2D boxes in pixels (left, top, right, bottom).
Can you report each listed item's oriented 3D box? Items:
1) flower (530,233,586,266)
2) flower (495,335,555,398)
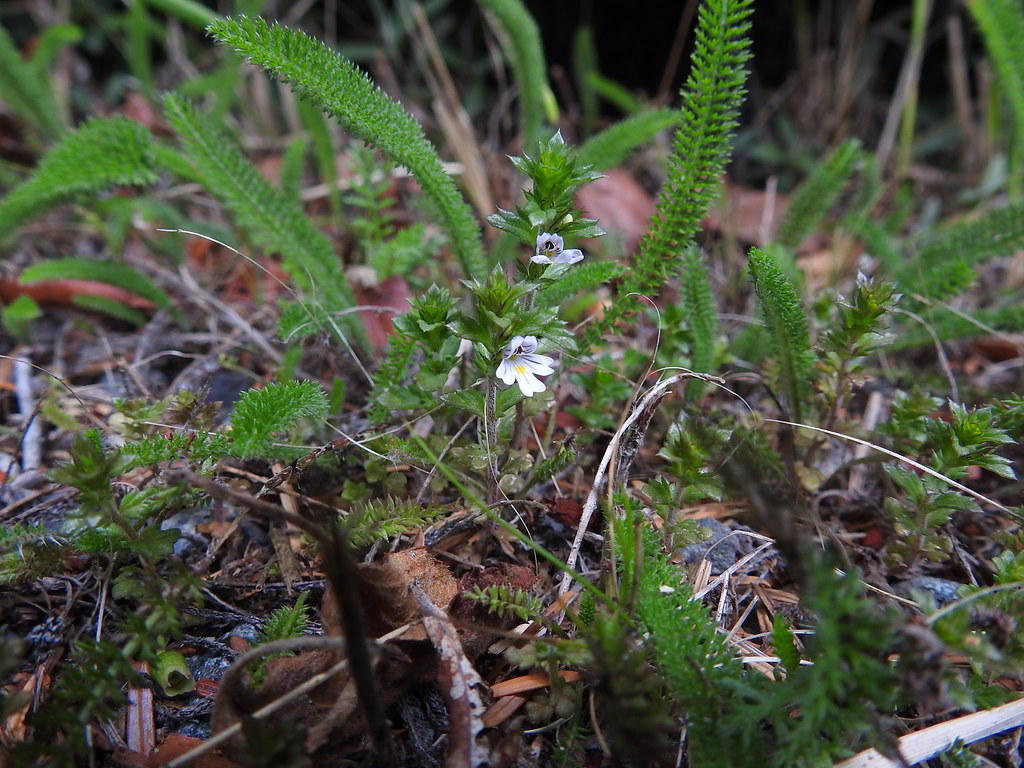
[{"bbox_3d":[0.102,-0.318,1.893,0.096,0.049,0.077,25,43,32],"label":"flower"},{"bbox_3d":[0.026,-0.047,1.916,0.134,0.146,0.068,-21,14,-13],"label":"flower"}]
